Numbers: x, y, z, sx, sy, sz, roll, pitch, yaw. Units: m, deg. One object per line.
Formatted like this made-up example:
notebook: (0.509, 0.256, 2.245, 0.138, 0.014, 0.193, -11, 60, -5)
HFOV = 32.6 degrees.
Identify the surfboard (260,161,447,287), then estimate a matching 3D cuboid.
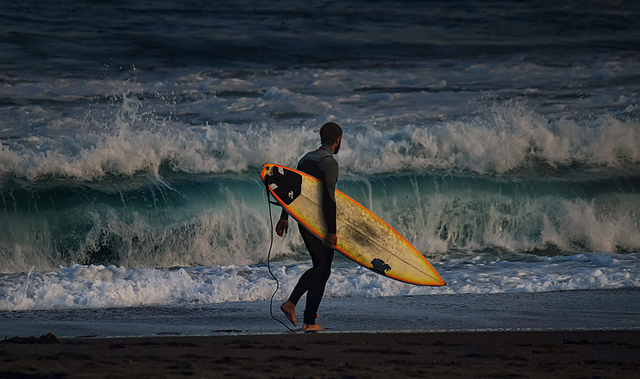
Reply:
surfboard: (0.676, 1.072, 29.718, 6.320, 1.590, 0.710, 34, -33, -19)
